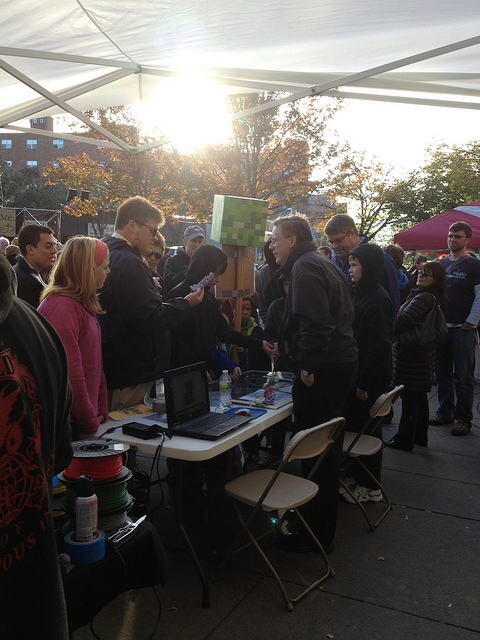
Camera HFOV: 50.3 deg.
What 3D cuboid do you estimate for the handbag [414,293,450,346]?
[{"bbox_3d":[1.858,-0.013,5.003,0.216,0.425,0.446,-14,6,30],"label":"handbag"}]

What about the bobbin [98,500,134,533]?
[{"bbox_3d":[-0.391,0.616,1.585,0.069,0.025,0.071,5,9,32],"label":"bobbin"}]

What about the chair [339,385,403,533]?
[{"bbox_3d":[0.797,0.953,3.703,0.641,0.931,0.581,1,-2,28],"label":"chair"}]

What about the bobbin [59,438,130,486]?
[{"bbox_3d":[-0.488,0.472,1.712,0.235,0.099,0.245,4,3,44],"label":"bobbin"}]

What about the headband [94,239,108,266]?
[{"bbox_3d":[-0.678,-0.328,2.507,0.048,0.127,0.118,2,4,-2],"label":"headband"}]

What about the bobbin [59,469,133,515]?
[{"bbox_3d":[-0.452,0.549,1.628,0.132,0.055,0.132,1,1,11],"label":"bobbin"}]

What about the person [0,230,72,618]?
[{"bbox_3d":[-0.448,0.239,1.136,0.110,0.740,0.353,1,4,-15],"label":"person"}]

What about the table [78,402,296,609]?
[{"bbox_3d":[-0.257,0.621,2.607,0.798,0.633,1.350,2,5,27],"label":"table"}]

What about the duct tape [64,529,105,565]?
[{"bbox_3d":[-0.430,0.632,1.426,0.083,0.052,0.082,4,1,-11],"label":"duct tape"}]

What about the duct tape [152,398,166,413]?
[{"bbox_3d":[-0.439,0.476,2.845,0.082,0.049,0.079,-1,5,-41],"label":"duct tape"}]

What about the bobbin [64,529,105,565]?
[{"bbox_3d":[-0.432,0.621,1.436,0.087,0.056,0.091,7,1,38],"label":"bobbin"}]

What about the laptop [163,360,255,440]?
[{"bbox_3d":[-0.143,0.403,2.628,0.337,0.292,0.438,3,4,19],"label":"laptop"}]

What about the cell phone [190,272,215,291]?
[{"bbox_3d":[-0.263,-0.267,3.527,0.165,0.044,0.067,-38,40,-21],"label":"cell phone"}]

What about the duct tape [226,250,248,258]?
[{"bbox_3d":[-0.018,-0.540,4.195,0.033,0.070,0.248,5,5,39],"label":"duct tape"}]

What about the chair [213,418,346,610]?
[{"bbox_3d":[0.200,0.993,2.824,0.575,0.930,0.483,4,6,37],"label":"chair"}]
